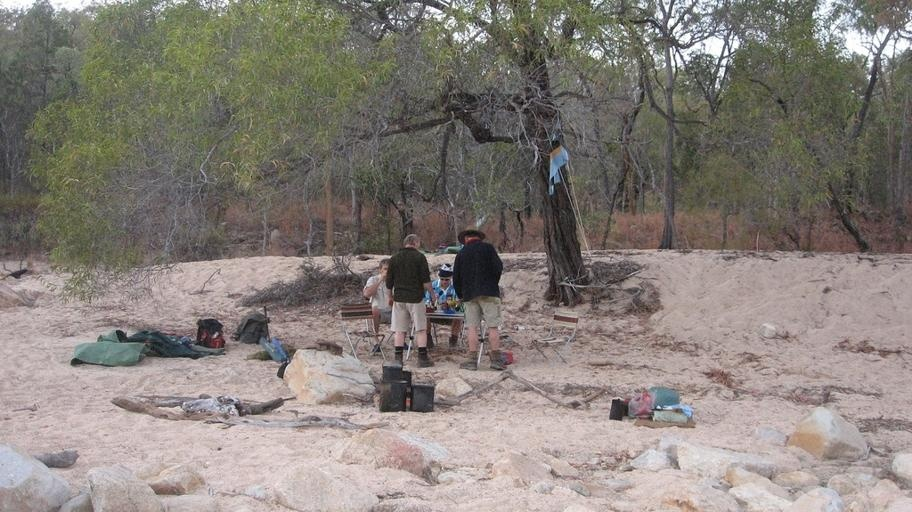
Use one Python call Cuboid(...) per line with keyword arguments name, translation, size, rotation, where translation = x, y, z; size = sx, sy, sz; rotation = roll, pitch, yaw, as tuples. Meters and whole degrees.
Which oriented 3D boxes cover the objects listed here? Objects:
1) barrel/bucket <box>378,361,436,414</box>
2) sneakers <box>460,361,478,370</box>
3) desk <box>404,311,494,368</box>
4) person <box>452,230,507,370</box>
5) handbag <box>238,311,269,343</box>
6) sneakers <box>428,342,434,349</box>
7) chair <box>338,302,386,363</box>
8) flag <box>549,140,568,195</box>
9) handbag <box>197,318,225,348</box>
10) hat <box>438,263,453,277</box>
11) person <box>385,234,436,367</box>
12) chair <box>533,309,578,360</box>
Cuboid(name="barrel/bucket", translation=(-1.160, 2.975, 21.404), size=(1.095, 0.891, 1.175), rotation=(2, -2, 0))
Cuboid(name="sneakers", translation=(0.323, 2.719, 22.965), size=(0.172, 0.227, 0.514), rotation=(4, -13, -24))
Cuboid(name="desk", translation=(-0.134, 1.862, 23.992), size=(1.477, 0.710, 1.068), rotation=(1, -19, 37))
Cuboid(name="person", translation=(0.640, 1.057, 23.223), size=(1.344, 3.491, 1.068), rotation=(0, -3, 2))
Cuboid(name="handbag", translation=(-5.559, 1.933, 25.041), size=(0.926, 0.820, 0.548), rotation=(1, -3, -5))
Cuboid(name="sneakers", translation=(-0.669, 2.350, 24.221), size=(0.133, 0.242, 0.129), rotation=(-1, -1, -2))
Cuboid(name="chair", translation=(-2.397, 1.931, 23.352), size=(0.873, 1.320, 1.065), rotation=(-3, 9, -21))
Cuboid(name="flag", translation=(2.827, -2.517, 25.656), size=(0.194, 0.729, 1.692), rotation=(35, 16, -5))
Cuboid(name="handbag", translation=(-6.480, 2.057, 24.615), size=(0.758, 0.840, 0.649), rotation=(-2, -1, 4))
Cuboid(name="hat", translation=(-0.281, 0.359, 24.549), size=(0.311, 0.205, 0.319), rotation=(1, 1, -11))
Cuboid(name="person", translation=(-1.158, 1.098, 22.815), size=(1.133, 3.272, 1.242), rotation=(0, -3, -5))
Cuboid(name="chair", translation=(2.774, 1.993, 24.638), size=(1.039, 1.797, 1.380), rotation=(3, 5, 40))
